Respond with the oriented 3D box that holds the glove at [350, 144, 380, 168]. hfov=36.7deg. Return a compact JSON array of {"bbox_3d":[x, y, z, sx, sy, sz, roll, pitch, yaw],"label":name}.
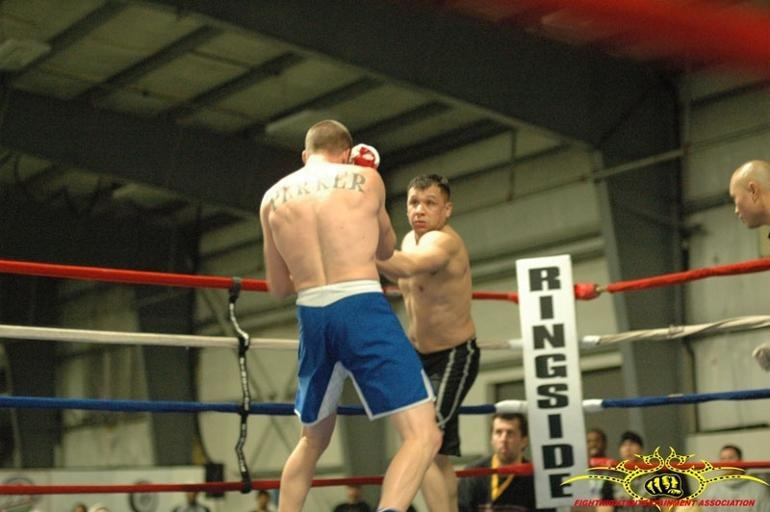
[{"bbox_3d":[-0.176,-0.840,9.936,0.208,0.102,0.241,10,22,1],"label":"glove"}]
